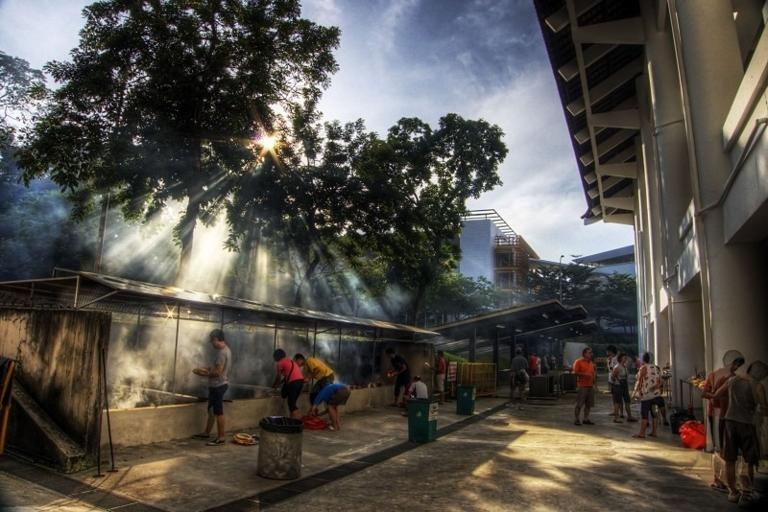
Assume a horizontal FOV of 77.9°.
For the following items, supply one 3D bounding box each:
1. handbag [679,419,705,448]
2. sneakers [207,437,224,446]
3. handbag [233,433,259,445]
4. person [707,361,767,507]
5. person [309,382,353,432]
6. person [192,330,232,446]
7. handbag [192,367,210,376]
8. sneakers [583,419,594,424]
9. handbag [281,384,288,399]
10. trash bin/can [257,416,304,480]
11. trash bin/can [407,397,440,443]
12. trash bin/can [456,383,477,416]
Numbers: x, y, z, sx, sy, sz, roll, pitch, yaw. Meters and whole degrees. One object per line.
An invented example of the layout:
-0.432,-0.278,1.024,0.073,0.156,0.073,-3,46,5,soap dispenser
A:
8.441,4.881,12.942,0.699,0.724,0.590,-8,-36,24,handbag
-4.117,4.520,11.554,0.339,0.138,0.196,3,-16,3,sneakers
-3.483,4.564,11.824,0.611,0.222,0.520,5,-14,-14,handbag
6.780,3.279,8.947,0.769,2.515,0.698,-3,-13,19,person
-1.622,4.476,14.227,1.214,1.277,0.913,-17,-29,27,person
-4.297,3.237,11.958,0.797,2.760,1.287,5,-13,-18,person
-4.623,2.933,12.111,0.420,0.245,0.522,11,-15,-4,handbag
7.272,5.847,16.762,0.374,0.166,0.142,4,-8,-4,sneakers
-2.813,3.819,13.365,0.121,0.349,0.269,9,-21,-10,handbag
-2.230,4.012,9.907,0.907,0.995,0.924,6,-21,-17,trash bin/can
1.076,4.559,13.303,0.995,1.193,0.978,4,-10,-8,trash bin/can
3.180,5.560,18.319,0.723,1.083,0.724,2,-13,-3,trash bin/can
